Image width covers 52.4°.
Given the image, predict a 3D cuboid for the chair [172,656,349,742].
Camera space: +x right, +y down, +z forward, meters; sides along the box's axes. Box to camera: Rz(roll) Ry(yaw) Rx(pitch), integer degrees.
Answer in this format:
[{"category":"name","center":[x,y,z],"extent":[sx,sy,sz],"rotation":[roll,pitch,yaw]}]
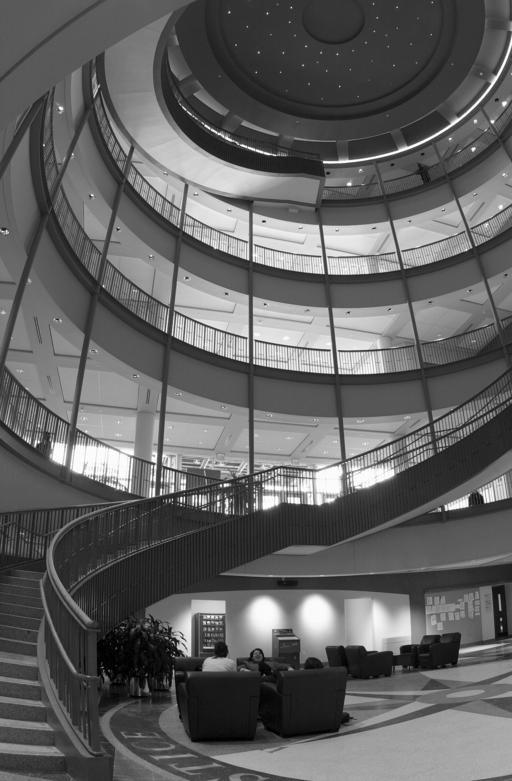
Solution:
[{"category":"chair","center":[0.089,4.655,7.791],"extent":[2.428,0.938,1.101],"rotation":[7,-25,-20]}]

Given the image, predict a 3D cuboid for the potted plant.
[{"category":"potted plant","center":[-2.540,5.851,11.523],"extent":[1.613,1.622,2.129],"rotation":[1,-23,-6]}]
